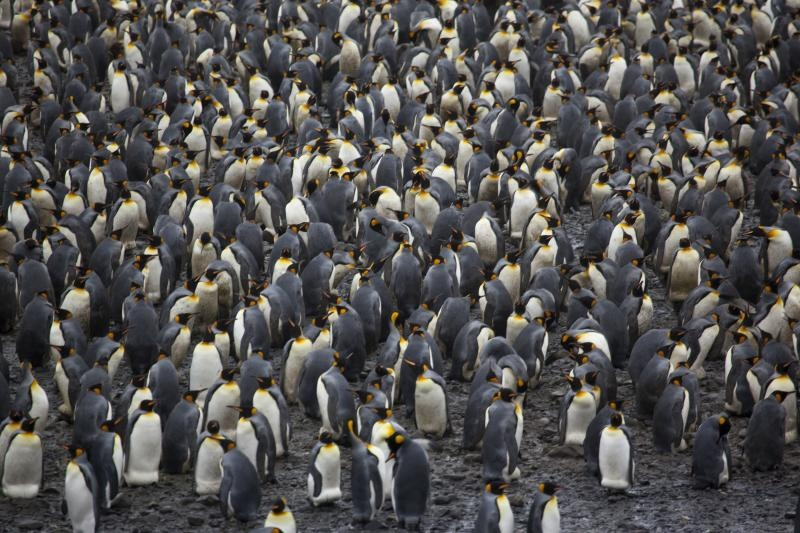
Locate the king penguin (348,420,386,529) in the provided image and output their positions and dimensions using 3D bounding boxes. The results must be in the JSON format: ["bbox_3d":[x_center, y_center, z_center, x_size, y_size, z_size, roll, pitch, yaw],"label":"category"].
[{"bbox_3d":[-0.419,2.573,18.717,0.416,1.090,0.291,-2,4,-5],"label":"king penguin"}]

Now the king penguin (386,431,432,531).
[{"bbox_3d":[0.078,2.599,18.695,0.495,1.224,0.211,-2,4,-2],"label":"king penguin"}]
